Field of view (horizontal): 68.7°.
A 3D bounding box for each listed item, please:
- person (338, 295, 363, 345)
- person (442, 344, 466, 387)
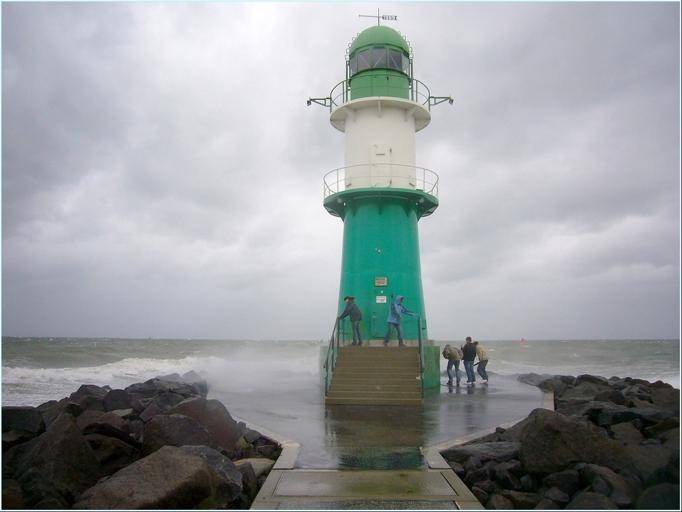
[{"bbox_3d":[0.342,2.030,16.122,0.658,1.569,0.998,0,-9,1],"label":"person"},{"bbox_3d":[4.072,3.873,18.092,0.632,1.523,0.617,-2,-32,10],"label":"person"}]
